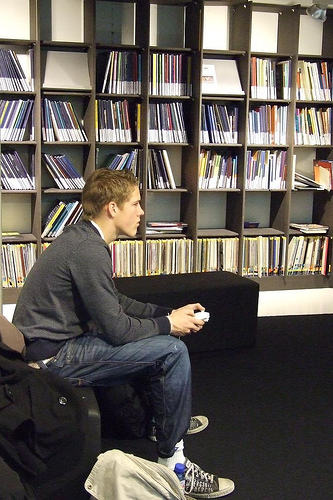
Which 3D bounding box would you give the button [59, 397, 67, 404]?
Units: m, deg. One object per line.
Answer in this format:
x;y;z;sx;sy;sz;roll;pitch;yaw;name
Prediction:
-0.292;0.426;1.179;0.018;0.018;0.005;-2;-11;-15;button

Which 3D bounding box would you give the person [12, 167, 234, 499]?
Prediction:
-0.180;0.305;1.607;0.771;1.226;0.487;-1;8;-21;person

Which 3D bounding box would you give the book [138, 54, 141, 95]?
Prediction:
-0.242;-1.579;3.767;0.027;0.334;0.031;1;7;-1;book
